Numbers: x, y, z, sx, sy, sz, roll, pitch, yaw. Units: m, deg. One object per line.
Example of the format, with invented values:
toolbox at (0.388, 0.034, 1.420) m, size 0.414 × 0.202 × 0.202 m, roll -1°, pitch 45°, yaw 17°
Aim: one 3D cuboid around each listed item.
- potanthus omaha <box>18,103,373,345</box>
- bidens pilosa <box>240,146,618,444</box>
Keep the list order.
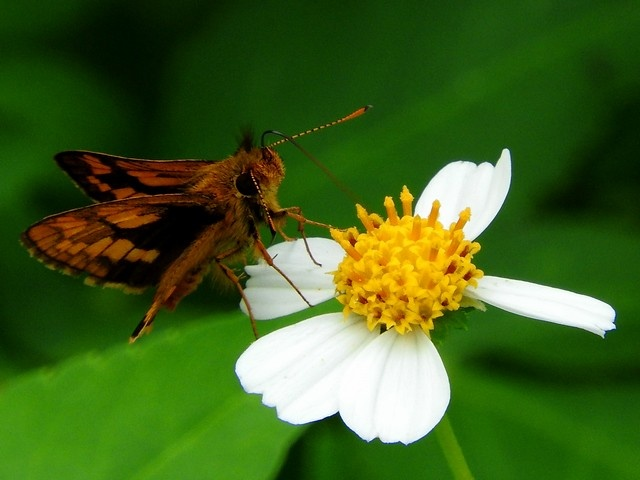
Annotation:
potanthus omaha at (-0.449, -0.058, 2.247) m, size 1.129 × 0.993 × 0.850 m, roll -4°, pitch 17°, yaw -6°
bidens pilosa at (0.244, 0.134, 1.657) m, size 1.085 × 0.327 × 1.038 m, roll 3°, pitch 22°, yaw 21°
